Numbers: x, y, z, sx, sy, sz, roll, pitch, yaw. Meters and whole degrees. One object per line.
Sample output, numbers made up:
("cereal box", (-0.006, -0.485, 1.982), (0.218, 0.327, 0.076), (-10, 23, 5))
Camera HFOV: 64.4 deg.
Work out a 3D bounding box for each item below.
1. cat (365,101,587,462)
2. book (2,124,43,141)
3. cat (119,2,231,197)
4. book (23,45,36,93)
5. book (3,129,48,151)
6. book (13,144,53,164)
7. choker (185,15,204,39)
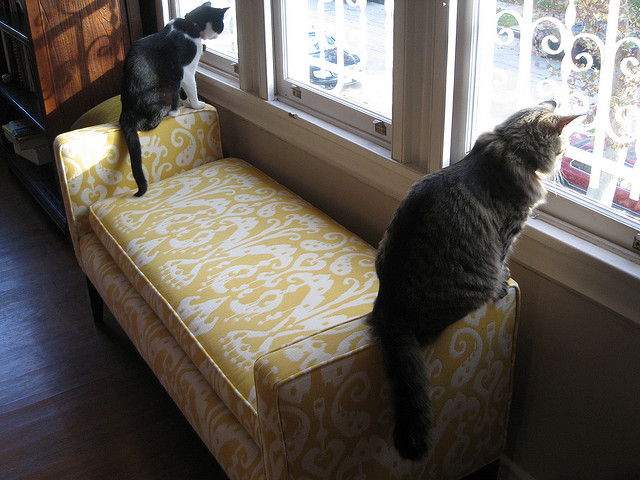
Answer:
("cat", (0.284, 0.001, 1.171), (0.288, 0.916, 0.356), (28, 2, 44))
("book", (-1.633, -0.572, 2.836), (0.152, 0.038, 0.157), (-2, 26, -23))
("cat", (-0.611, -0.558, 1.961), (0.248, 0.559, 0.546), (19, 37, 28))
("book", (-1.534, -0.894, 2.684), (0.033, 0.237, 0.100), (-21, 37, -30))
("book", (-1.592, -0.533, 2.788), (0.155, 0.038, 0.154), (-22, 43, -32))
("book", (-1.555, -0.467, 2.777), (0.122, 0.058, 0.187), (-14, 38, -29))
("choker", (-0.482, -0.816, 1.965), (0.018, 0.075, 0.075), (-39, 3, -4))
